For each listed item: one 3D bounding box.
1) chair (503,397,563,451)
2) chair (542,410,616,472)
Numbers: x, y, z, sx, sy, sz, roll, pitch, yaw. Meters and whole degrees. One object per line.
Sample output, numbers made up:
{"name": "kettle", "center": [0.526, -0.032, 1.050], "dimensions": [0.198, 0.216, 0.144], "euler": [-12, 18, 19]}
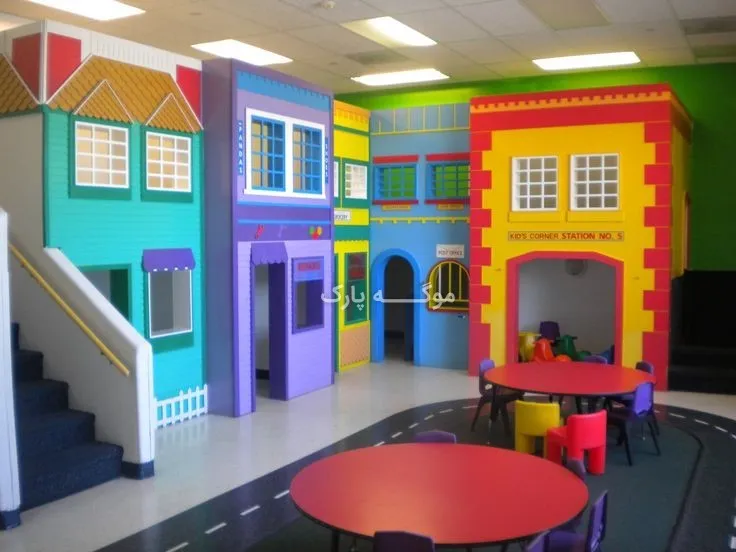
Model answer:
{"name": "chair", "center": [2.357, 2.106, 8.594], "dimensions": [0.705, 0.711, 0.615], "euler": [6, -4, -42]}
{"name": "chair", "center": [2.739, 2.132, 8.110], "dimensions": [0.747, 0.778, 0.771], "euler": [1, 2, 4]}
